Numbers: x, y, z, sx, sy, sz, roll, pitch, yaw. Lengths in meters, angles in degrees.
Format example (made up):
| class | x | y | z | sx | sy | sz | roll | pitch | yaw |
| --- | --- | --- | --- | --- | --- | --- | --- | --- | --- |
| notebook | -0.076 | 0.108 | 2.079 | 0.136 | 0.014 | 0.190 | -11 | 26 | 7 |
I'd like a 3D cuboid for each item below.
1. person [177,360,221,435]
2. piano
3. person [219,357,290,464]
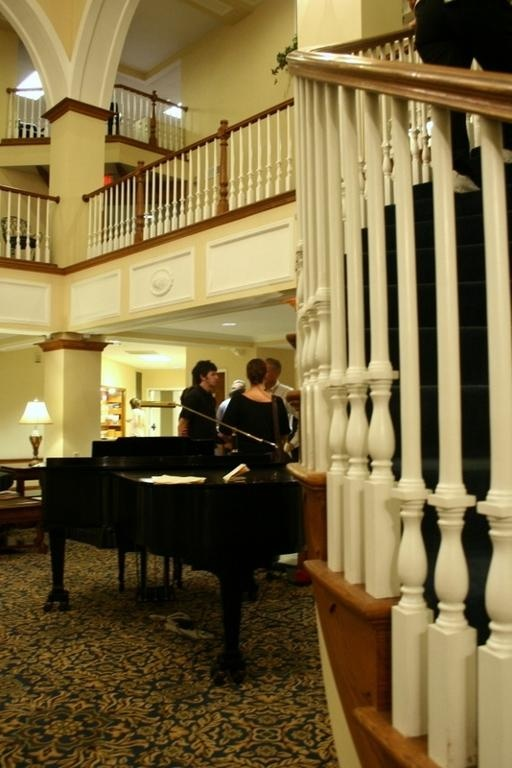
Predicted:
| class | x | y | z | sx | sy | sz | roll | pitch | yaw |
| --- | --- | --- | --- | --- | --- | --- | --- | --- | --- |
| person | -0.541 | 0.157 | 5.712 | 0.364 | 0.734 | 1.415 | 0 | -4 | -6 |
| piano | -0.498 | 0.651 | 3.545 | 1.055 | 0.867 | 1.378 | 0 | 4 | -29 |
| person | 0.008 | 0.245 | 4.779 | 0.452 | 0.969 | 0.447 | -1 | 19 | 0 |
